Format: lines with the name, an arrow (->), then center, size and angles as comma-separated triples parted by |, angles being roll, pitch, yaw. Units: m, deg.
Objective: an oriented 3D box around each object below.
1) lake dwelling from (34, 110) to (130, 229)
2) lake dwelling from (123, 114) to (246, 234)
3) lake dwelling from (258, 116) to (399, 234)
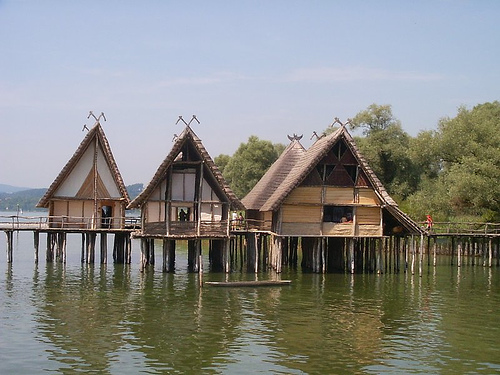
lake dwelling -> -12.174, -1.257, 62.974 | 5.749, 8.723, 2.424 | 0, -6, -9
lake dwelling -> -4.921, -0.533, 62.504 | 8.456, 7.197, 11.747 | 0, 1, -6
lake dwelling -> 5.452, 0.253, 63.682 | 7.477, 5.400, 10.759 | 0, -3, -6
